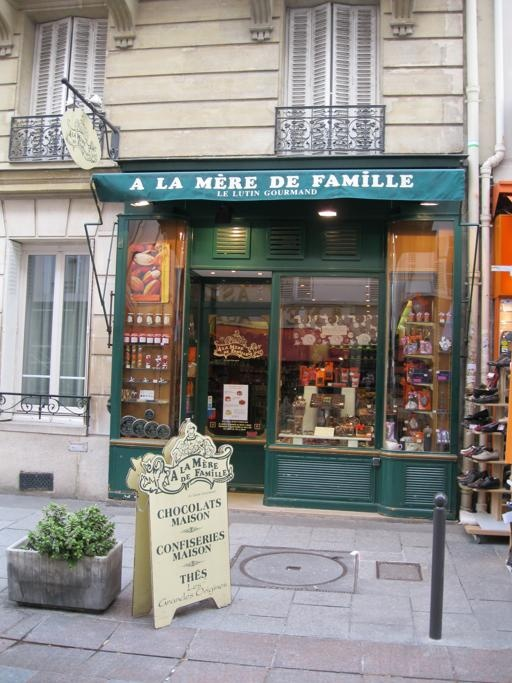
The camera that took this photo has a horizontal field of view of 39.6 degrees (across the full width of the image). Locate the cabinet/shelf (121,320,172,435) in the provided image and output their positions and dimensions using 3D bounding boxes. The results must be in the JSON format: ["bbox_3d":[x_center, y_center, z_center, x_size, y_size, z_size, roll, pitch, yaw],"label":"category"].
[{"bbox_3d":[-1.343,0.399,8.602,0.700,1.745,0.188,4,7,8],"label":"cabinet/shelf"}]

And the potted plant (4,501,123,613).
[{"bbox_3d":[-1.354,1.595,5.495,0.885,0.873,0.661,-1,-5,9],"label":"potted plant"}]

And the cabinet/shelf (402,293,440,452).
[{"bbox_3d":[1.826,0.348,8.081,0.409,1.730,0.149,1,2,10],"label":"cabinet/shelf"}]
